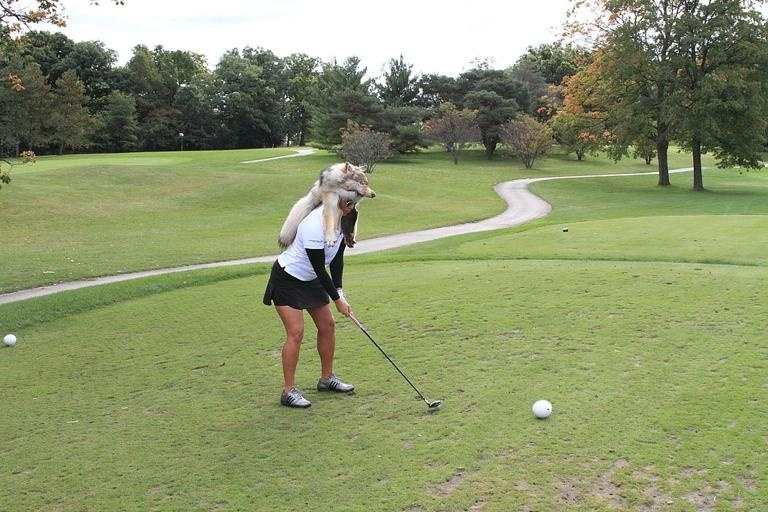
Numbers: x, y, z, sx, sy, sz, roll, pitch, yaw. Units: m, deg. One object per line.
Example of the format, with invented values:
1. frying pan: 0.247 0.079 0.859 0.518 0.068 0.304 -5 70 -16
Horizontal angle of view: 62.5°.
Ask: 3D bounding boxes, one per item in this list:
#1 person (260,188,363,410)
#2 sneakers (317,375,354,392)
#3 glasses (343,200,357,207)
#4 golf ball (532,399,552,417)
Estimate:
1. person: -0.901 0.565 8.083 1.215 2.535 0.919 -8 13 -27
2. sneakers: -0.651 1.668 8.243 0.559 0.177 0.175 2 1 5
3. glasses: -0.419 -0.661 7.887 0.051 0.062 0.126 6 0 26
4. golf ball: 1.850 1.790 7.466 0.241 0.138 0.205 -11 18 -5
